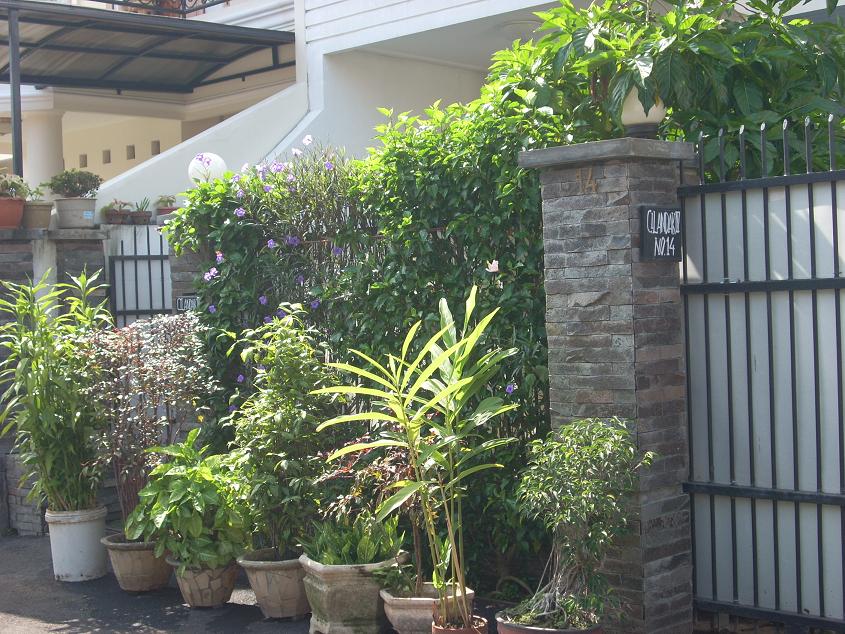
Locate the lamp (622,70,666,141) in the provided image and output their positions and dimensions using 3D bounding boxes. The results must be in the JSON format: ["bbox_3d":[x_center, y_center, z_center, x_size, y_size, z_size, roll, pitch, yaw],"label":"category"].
[{"bbox_3d":[1.399,-1.293,6.740,0.279,0.309,0.239,-2,0,-33],"label":"lamp"}]
